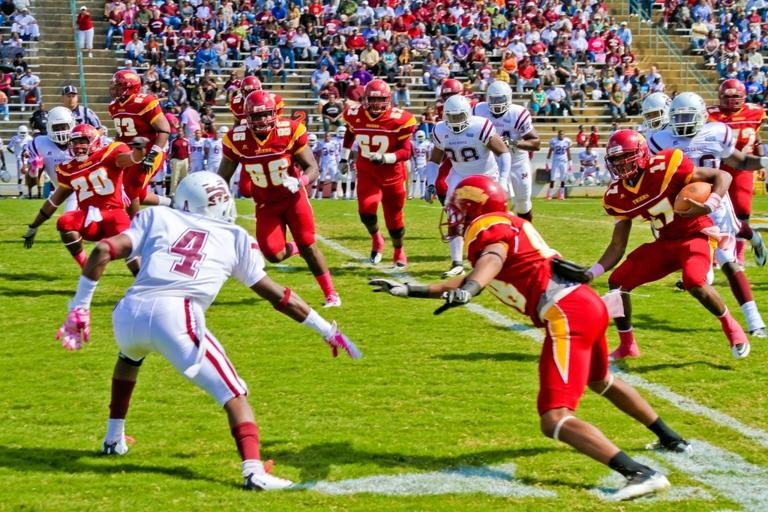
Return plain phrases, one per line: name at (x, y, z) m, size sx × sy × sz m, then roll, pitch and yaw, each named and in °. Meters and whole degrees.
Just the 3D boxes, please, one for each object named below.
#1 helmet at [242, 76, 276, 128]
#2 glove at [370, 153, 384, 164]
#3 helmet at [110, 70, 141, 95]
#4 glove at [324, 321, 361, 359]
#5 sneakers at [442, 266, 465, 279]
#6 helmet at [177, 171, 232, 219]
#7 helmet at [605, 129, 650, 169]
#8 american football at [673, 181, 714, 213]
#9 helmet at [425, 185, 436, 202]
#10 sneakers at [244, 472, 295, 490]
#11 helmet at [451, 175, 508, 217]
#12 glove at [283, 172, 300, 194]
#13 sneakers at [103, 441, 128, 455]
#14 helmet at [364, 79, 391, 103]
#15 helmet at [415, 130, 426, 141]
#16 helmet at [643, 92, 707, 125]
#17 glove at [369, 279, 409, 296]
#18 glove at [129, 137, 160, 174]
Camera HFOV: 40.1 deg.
helmet at (-1.311, -1.557, 11.283) m, size 0.339 × 0.424 × 0.427 m, roll 0°, pitch 8°, yaw -1°
glove at (-0.091, -1.172, 12.712) m, size 0.115 × 0.122 × 0.140 m, roll 31°, pitch -28°, yaw -31°
helmet at (-3.314, -2.250, 13.740) m, size 0.406 × 0.310 × 0.286 m, roll 2°, pitch 0°, yaw -32°
glove at (-0.383, 0.788, 9.666) m, size 0.144 × 0.434 × 0.199 m, roll -44°, pitch 7°, yaw 34°
sneakers at (0.838, 0.200, 12.567) m, size 0.323 × 0.128 × 0.111 m, roll -6°, pitch 9°, yaw -21°
helmet at (-1.492, -0.511, 8.679) m, size 0.479 × 0.358 × 0.343 m, roll -3°, pitch 21°, yaw -34°
helmet at (2.298, -1.003, 9.991) m, size 0.331 × 0.305 × 0.407 m, roll -16°, pitch 4°, yaw 39°
american football at (2.918, -0.565, 10.053) m, size 0.335 × 0.199 × 0.246 m, roll -37°, pitch -24°, yaw -11°
helmet at (0.554, -0.793, 13.415) m, size 0.143 × 0.180 × 0.184 m, roll 3°, pitch 30°, yaw 10°
sneakers at (-0.918, 1.799, 8.426) m, size 0.442 × 0.166 × 0.139 m, roll -1°, pitch 2°, yaw -3°
helmet at (0.834, -0.497, 8.972) m, size 0.447 × 0.345 × 0.334 m, roll 16°, pitch 16°, yaw 15°
glove at (-0.984, -0.782, 11.290) m, size 0.149 × 0.186 × 0.088 m, roll -34°, pitch 3°, yaw -25°
sneakers at (-2.212, 1.599, 8.714) m, size 0.231 × 0.092 × 0.083 m, roll 1°, pitch 2°, yaw -23°
helmet at (-0.068, -2.030, 13.055) m, size 0.283 × 0.255 × 0.344 m, roll 0°, pitch 6°, yaw 0°
helmet at (0.801, -2.628, 22.991) m, size 0.221 × 0.215 × 0.242 m, roll -1°, pitch -3°, yaw 0°
helmet at (3.269, -1.647, 11.700) m, size 0.449 × 0.290 × 0.598 m, roll 9°, pitch 17°, yaw 42°
glove at (0.038, 0.254, 8.362) m, size 0.254 × 0.075 × 0.145 m, roll 3°, pitch 5°, yaw 10°
glove at (-2.847, -1.201, 12.887) m, size 0.286 × 0.178 × 0.458 m, roll 29°, pitch 2°, yaw -39°
